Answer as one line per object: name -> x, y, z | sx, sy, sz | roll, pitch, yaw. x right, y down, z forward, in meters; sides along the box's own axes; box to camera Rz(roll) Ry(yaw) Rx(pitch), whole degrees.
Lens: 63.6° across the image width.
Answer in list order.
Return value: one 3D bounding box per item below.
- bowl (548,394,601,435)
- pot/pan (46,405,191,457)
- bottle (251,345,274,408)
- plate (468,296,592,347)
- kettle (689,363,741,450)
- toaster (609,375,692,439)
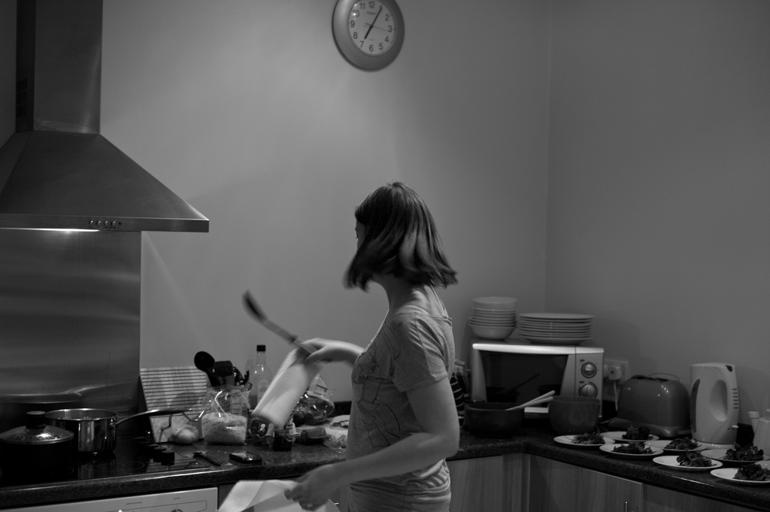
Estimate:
bowl -> 0.946, 0.807, 3.106 | 0.235, 0.181, 0.118 | -1, -6, 17
pot/pan -> -1.219, 0.741, 2.737 | 0.449, 0.160, 0.237 | 6, -10, -10
bottle -> -0.640, 0.607, 3.199 | 0.101, 0.306, 0.273 | 2, -6, -11
plate -> 0.811, 0.364, 3.568 | 0.725, 0.265, 0.349 | -2, -7, 26
kettle -> 1.584, 0.732, 2.985 | 0.207, 0.406, 0.331 | 9, -17, -1
toaster -> 1.368, 0.754, 3.148 | 0.234, 0.251, 0.357 | 8, -7, -29
